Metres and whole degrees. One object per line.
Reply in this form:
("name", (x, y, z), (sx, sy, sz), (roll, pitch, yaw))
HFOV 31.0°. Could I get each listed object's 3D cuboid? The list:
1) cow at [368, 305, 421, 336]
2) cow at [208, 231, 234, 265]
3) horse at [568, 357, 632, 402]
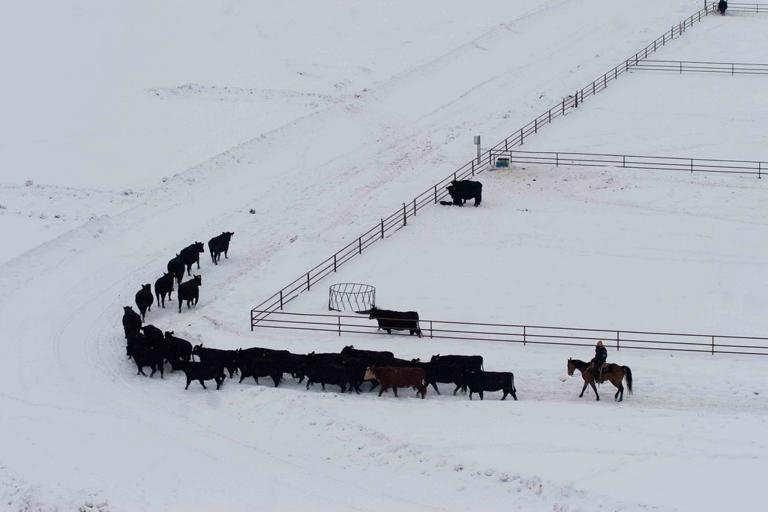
("cow", (0.807, 4.026, 84.262), (4.166, 2.133, 1.250), (4, -23, 8))
("cow", (-10.932, -0.674, 92.431), (0.940, 2.768, 1.858), (1, -36, 16))
("horse", (12.439, 7.234, 79.568), (3.830, 2.353, 1.007), (1, 1, 13))
